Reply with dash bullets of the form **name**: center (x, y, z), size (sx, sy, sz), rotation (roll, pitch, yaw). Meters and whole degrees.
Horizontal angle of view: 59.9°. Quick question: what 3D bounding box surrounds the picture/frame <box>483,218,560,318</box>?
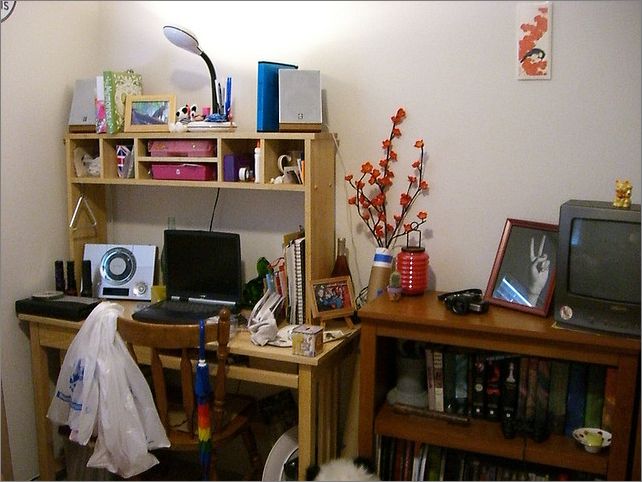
- **picture/frame**: center (0.928, 0.130, 2.550), size (0.349, 0.522, 0.049), rotation (8, -18, 31)

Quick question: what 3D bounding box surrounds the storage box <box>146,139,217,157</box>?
- **storage box**: center (-0.728, -0.481, 2.935), size (0.364, 0.094, 0.096), rotation (3, 8, 20)

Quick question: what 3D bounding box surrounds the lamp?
- **lamp**: center (-0.624, -0.844, 2.962), size (0.340, 0.522, 0.351), rotation (-1, 7, -1)

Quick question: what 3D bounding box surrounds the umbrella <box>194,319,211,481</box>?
- **umbrella**: center (-0.521, 0.714, 2.454), size (0.061, 0.751, 0.162), rotation (-2, 7, -13)

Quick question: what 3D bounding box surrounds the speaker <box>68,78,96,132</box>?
- **speaker**: center (-1.320, -0.748, 3.089), size (0.208, 0.289, 0.082), rotation (3, 8, 27)

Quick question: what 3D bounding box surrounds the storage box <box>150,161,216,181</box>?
- **storage box**: center (-0.758, -0.362, 2.961), size (0.399, 0.093, 0.115), rotation (3, 9, 24)

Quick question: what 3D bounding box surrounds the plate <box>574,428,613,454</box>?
- **plate**: center (1.133, 0.829, 2.331), size (0.147, 0.107, 0.124), rotation (4, 9, 29)

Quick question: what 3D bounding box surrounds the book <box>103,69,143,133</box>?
- **book**: center (-1.076, -0.737, 3.004), size (0.060, 0.382, 0.320), rotation (3, 6, 19)

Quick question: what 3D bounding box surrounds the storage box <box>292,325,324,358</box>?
- **storage box**: center (-0.063, 0.458, 2.542), size (0.116, 0.114, 0.121), rotation (1, 0, 23)

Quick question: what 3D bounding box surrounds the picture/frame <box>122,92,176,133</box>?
- **picture/frame**: center (-0.916, -0.672, 2.966), size (0.220, 0.176, 0.016), rotation (0, -3, 4)

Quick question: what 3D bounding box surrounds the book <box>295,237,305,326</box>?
- **book**: center (-0.104, 0.204, 2.751), size (0.048, 0.416, 0.053), rotation (-1, 7, -4)

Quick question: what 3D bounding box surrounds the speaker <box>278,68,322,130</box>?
- **speaker**: center (-0.106, -0.683, 2.710), size (0.263, 0.406, 0.198), rotation (0, 1, -5)

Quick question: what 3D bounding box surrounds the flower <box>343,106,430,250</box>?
- **flower**: center (0.334, -0.313, 2.863), size (0.426, 0.716, 0.128), rotation (0, 7, 5)

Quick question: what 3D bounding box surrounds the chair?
- **chair**: center (-0.612, 0.780, 2.686), size (0.616, 1.023, 0.505), rotation (-1, 7, -7)

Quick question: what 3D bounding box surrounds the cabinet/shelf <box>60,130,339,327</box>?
- **cabinet/shelf**: center (-0.732, -0.091, 3.143), size (1.365, 1.015, 0.349), rotation (3, 13, 9)

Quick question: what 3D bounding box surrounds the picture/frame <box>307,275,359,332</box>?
- **picture/frame**: center (0.047, 0.311, 2.709), size (0.215, 0.262, 0.121), rotation (-5, 10, -12)
